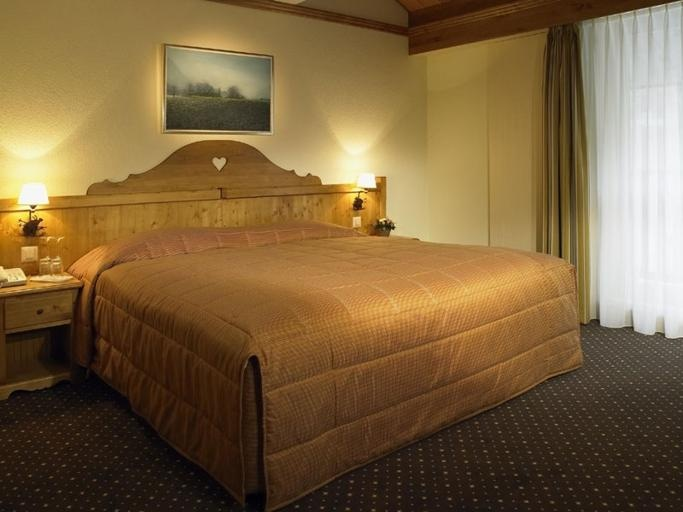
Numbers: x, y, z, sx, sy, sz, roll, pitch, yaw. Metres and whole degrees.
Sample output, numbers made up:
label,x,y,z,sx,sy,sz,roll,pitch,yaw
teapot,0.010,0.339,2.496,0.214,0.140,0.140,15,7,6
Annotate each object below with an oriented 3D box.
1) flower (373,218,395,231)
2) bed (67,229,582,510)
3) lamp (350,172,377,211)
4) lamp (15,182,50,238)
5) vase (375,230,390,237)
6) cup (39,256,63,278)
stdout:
label,x,y,z,sx,sy,sz,roll,pitch,yaw
flower,0.538,-0.386,5.922,0.184,0.143,0.187,-1,5,-27
bed,-0.554,0.508,3.197,2.111,0.806,1.943,-7,10,-42
lamp,0.349,-0.788,5.829,0.414,0.470,0.265,-14,19,-43
lamp,-2.513,-0.377,3.881,0.239,0.458,0.314,-9,17,-33
vase,0.503,-0.290,5.938,0.106,0.111,0.108,-1,3,-19
cup,-2.333,0.060,3.877,0.128,0.221,0.223,1,2,42
